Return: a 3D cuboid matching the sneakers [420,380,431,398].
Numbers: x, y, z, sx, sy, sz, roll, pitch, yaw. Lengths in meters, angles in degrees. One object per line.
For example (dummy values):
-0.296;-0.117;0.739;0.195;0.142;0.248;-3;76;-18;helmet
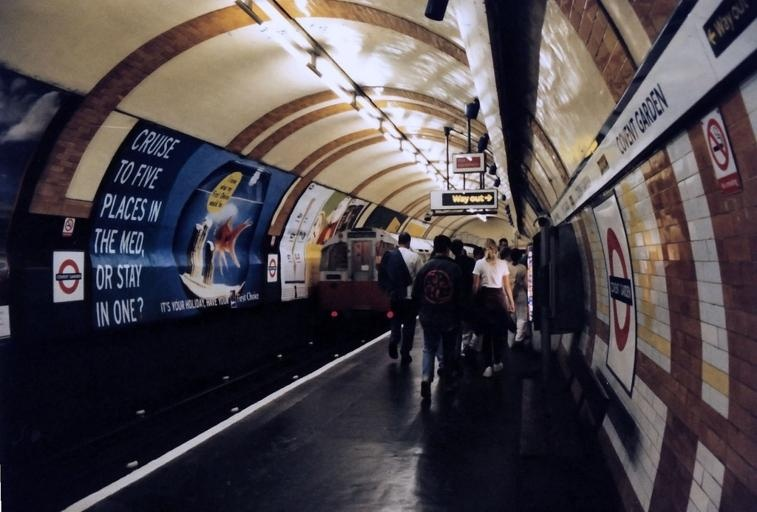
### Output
0.713;2.034;6.752;0.109;0.306;0.119;-4;-5;11;sneakers
